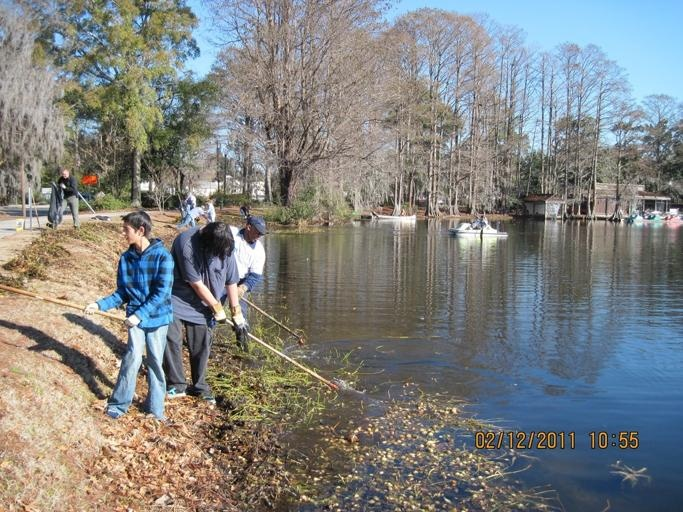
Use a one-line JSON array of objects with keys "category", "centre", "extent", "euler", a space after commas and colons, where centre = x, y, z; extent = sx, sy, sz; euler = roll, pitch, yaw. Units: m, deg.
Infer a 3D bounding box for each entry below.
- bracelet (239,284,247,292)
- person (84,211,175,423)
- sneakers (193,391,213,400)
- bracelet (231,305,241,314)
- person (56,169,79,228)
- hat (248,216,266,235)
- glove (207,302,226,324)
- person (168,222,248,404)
[{"category": "bracelet", "centre": [-1.436, 0.465, 8.610], "extent": [0.106, 0.026, 0.103], "euler": [2, 43, -47]}, {"category": "person", "centre": [-2.321, 0.721, 6.723], "extent": [0.765, 2.428, 0.493], "euler": [-2, 12, -22]}, {"category": "sneakers", "centre": [-1.787, 1.813, 7.642], "extent": [0.245, 0.117, 0.110], "euler": [5, 9, 8]}, {"category": "bracelet", "centre": [-1.390, 0.711, 7.731], "extent": [0.121, 0.098, 0.123], "euler": [-5, -2, 36]}, {"category": "person", "centre": [-6.876, -1.473, 14.828], "extent": [0.449, 1.459, 2.664], "euler": [-3, 13, -24]}, {"category": "hat", "centre": [-1.174, -0.445, 8.214], "extent": [0.284, 0.165, 0.202], "euler": [38, 9, 22]}, {"category": "glove", "centre": [-1.532, 0.715, 7.244], "extent": [0.190, 0.221, 0.244], "euler": [18, -28, 14]}, {"category": "person", "centre": [-1.746, 0.737, 7.386], "extent": [0.937, 2.402, 0.652], "euler": [0, 11, -13]}]
